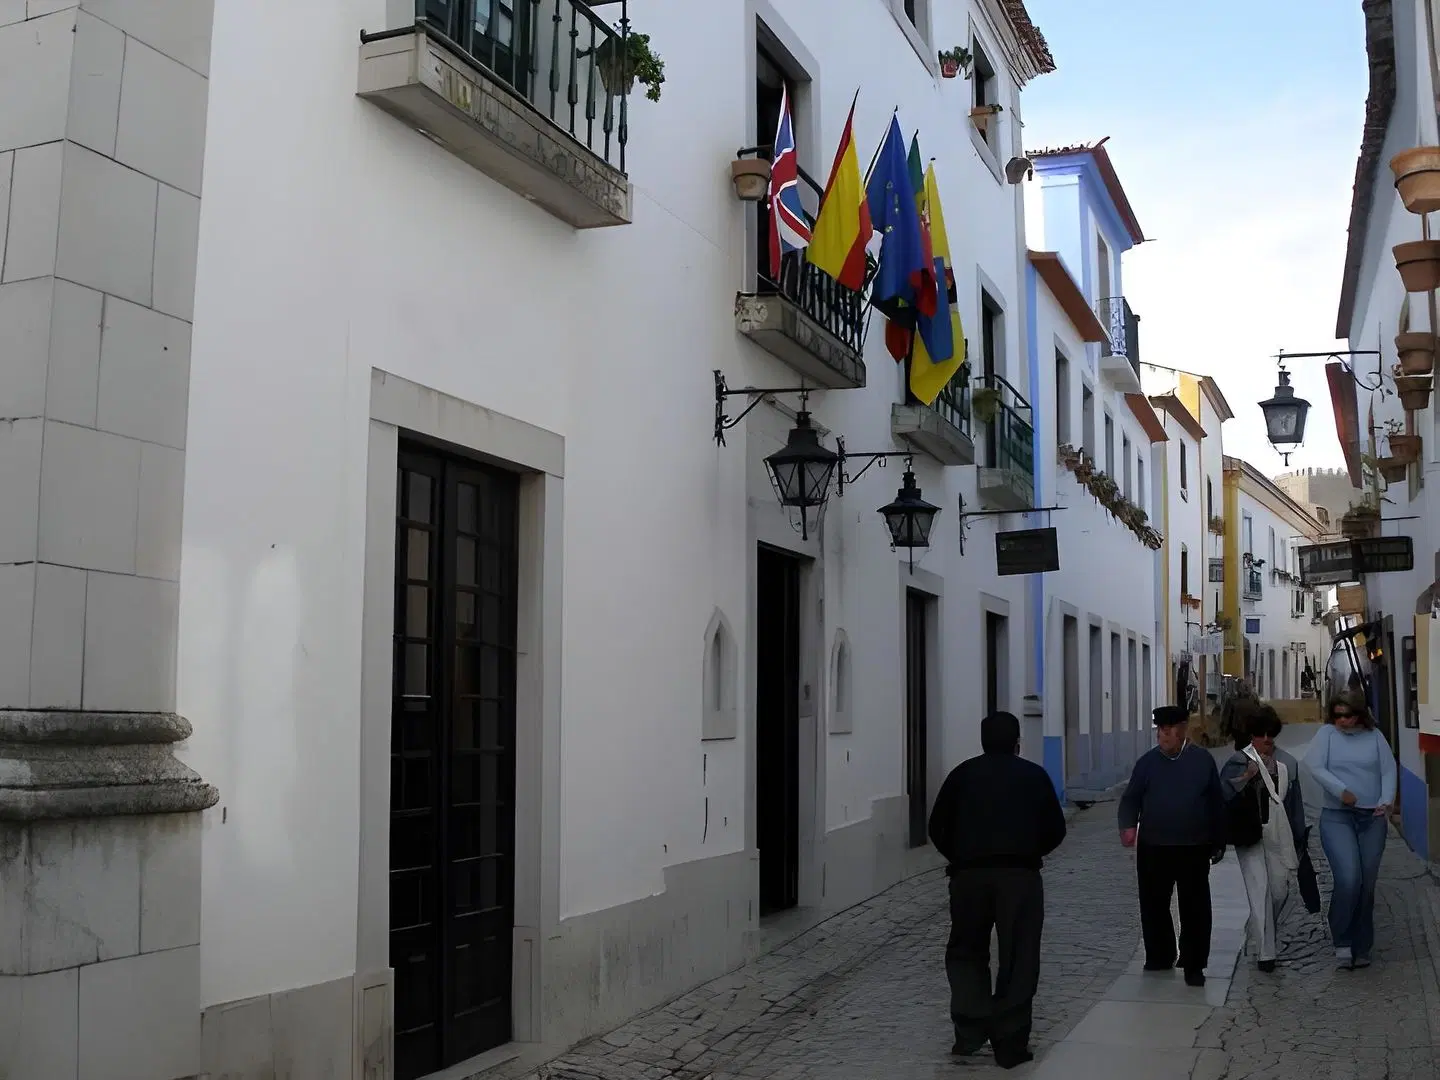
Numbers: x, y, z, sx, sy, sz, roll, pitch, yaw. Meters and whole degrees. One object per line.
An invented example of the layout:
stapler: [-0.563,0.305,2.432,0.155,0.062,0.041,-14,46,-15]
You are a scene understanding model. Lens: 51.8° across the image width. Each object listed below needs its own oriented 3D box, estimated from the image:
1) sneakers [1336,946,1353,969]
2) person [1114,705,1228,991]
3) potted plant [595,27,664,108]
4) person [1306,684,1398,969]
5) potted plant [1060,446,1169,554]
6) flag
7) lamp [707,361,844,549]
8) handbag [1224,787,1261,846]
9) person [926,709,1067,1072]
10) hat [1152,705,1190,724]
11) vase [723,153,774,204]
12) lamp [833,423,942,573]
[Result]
sneakers: [4.166,2.779,9.869,0.100,0.138,0.210,-2,-4,19]
person: [3.030,2.009,9.879,0.675,1.791,0.490,-2,-4,23]
potted plant: [-0.532,-2.858,8.934,0.382,0.481,0.447,2,0,10]
person: [4.286,1.947,9.989,0.516,1.806,0.525,-1,-3,9]
potted plant: [6.778,-0.667,25.560,0.693,0.721,3.724,4,-21,31]
flag: [1.177,-2.435,12.393,0.448,3.199,2.439,-12,-27,38]
lamp: [0.416,-0.600,10.411,0.788,1.367,0.639,-1,-17,-2]
handbag: [3.517,1.847,9.929,0.334,0.436,0.115,1,-4,-18]
person: [1.579,1.932,8.351,0.675,1.893,0.601,2,-4,-32]
hat: [3.015,1.173,9.900,0.201,0.121,0.394,-2,-4,17]
vase: [0.236,-2.612,10.744,0.280,0.277,0.317,0,3,19]
lamp: [1.416,-0.290,12.597,0.780,1.385,0.484,-2,-28,10]
